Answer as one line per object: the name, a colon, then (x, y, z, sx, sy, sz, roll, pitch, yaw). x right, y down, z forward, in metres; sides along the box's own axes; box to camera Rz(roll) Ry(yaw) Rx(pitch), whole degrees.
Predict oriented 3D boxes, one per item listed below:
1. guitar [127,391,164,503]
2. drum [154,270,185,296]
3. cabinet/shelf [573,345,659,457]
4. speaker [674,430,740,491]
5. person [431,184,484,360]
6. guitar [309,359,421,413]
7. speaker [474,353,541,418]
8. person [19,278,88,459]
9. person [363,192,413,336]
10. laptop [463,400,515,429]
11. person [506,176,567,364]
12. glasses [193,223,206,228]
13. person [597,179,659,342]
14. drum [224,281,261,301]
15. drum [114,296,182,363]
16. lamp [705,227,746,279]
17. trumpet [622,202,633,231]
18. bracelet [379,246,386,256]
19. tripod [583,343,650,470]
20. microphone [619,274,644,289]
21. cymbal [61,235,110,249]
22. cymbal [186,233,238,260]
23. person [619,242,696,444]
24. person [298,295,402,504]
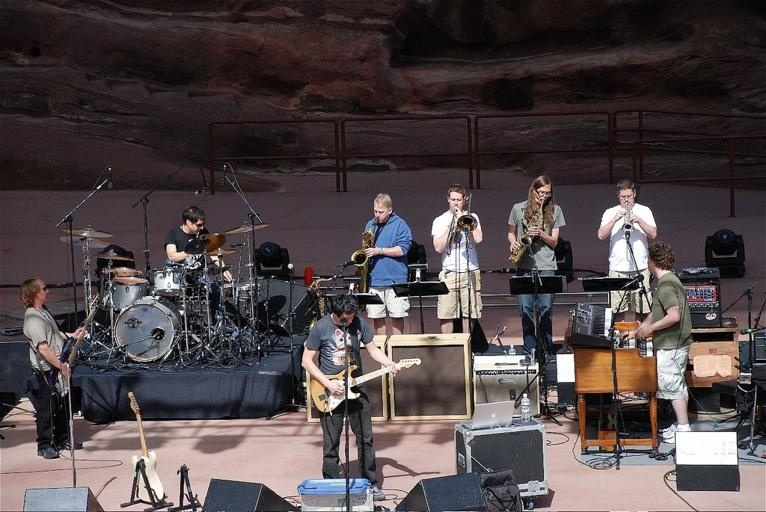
guitar: (-3.308, 2.818, 15.336, 0.539, 1.702, 0.529, -7, 17, -6)
drum: (-3.611, 0.471, 18.189, 0.510, 0.328, 0.469, 0, -3, 0)
cabinet/shelf: (3.489, 2.149, 16.216, 1.194, 1.440, 0.879, -3, -1, 11)
speaker: (4.536, 2.909, 15.297, 1.391, 0.714, 0.474, 2, 14, 5)
person: (1.228, 0.262, 17.779, 0.900, 2.697, 0.661, 0, 8, 1)
guitar: (-0.285, 1.877, 15.368, 1.494, 0.615, 0.635, -2, -1, -1)
speaker: (1.857, 1.998, 16.760, 1.155, 0.924, 0.701, 1, 11, 9)
person: (-5.311, 1.721, 16.973, 1.266, 2.874, 1.176, 0, 0, 3)
person: (0.038, 0.166, 17.894, 1.090, 2.260, 0.754, 0, 0, 5)
laptop: (1.520, 2.263, 15.266, 0.609, 0.306, 0.418, 0, 2, -13)
person: (2.387, 0.200, 17.723, 1.061, 2.848, 0.974, 4, 11, 45)
glasses: (-3.103, -0.504, 18.351, 0.103, 0.067, 0.204, -3, -2, 20)
person: (3.846, -0.010, 17.156, 0.991, 2.284, 0.879, 0, 0, 10)
drum: (-2.399, 0.610, 18.464, 0.389, 0.146, 0.425, 0, -1, 0)
drum: (-3.892, 1.277, 17.974, 1.065, 1.182, 0.752, -3, 22, -5)
lamp: (6.713, -0.026, 21.347, 0.714, 0.928, 0.273, -3, -1, 5)
trumpet: (3.861, -0.576, 17.120, 0.164, 0.515, 0.183, 4, -24, -3)
bracelet: (-0.021, -0.062, 17.761, 0.143, 0.158, 0.071, 2, 1, -7)
tripod: (3.489, 2.216, 16.389, 1.223, 1.677, 0.861, 2, 9, 11)
microphone: (3.733, 0.411, 16.308, 0.337, 0.101, 0.308, 3, -3, 1)
cymbal: (-5.274, -0.250, 19.253, 0.726, 0.143, 0.661, 0, -3, 0)
cymbal: (-2.944, -0.251, 18.101, 0.553, 0.216, 0.496, -11, -37, -3)
person: (4.157, 1.332, 16.443, 1.166, 2.893, 1.104, -1, 0, 12)
person: (-0.427, 2.029, 15.365, 1.594, 2.814, 1.052, -3, 0, 8)
